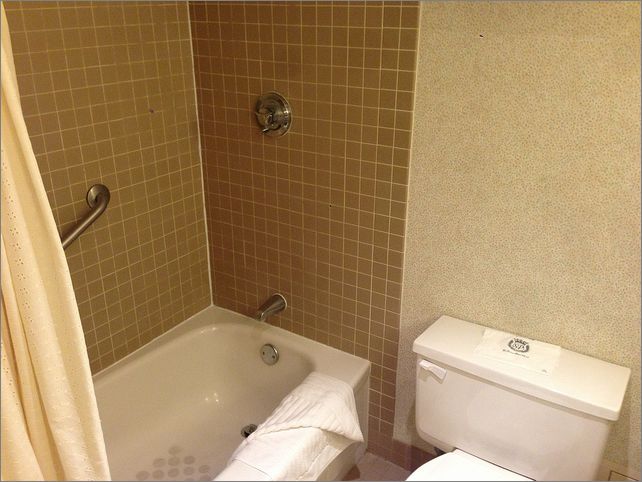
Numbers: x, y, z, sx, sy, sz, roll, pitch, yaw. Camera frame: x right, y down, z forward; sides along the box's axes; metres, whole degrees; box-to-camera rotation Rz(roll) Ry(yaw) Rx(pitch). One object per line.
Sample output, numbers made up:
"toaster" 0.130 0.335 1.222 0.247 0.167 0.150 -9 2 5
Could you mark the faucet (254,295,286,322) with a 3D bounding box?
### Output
"faucet" -0.234 0.297 2.251 0.086 0.147 0.081 19 -56 27
